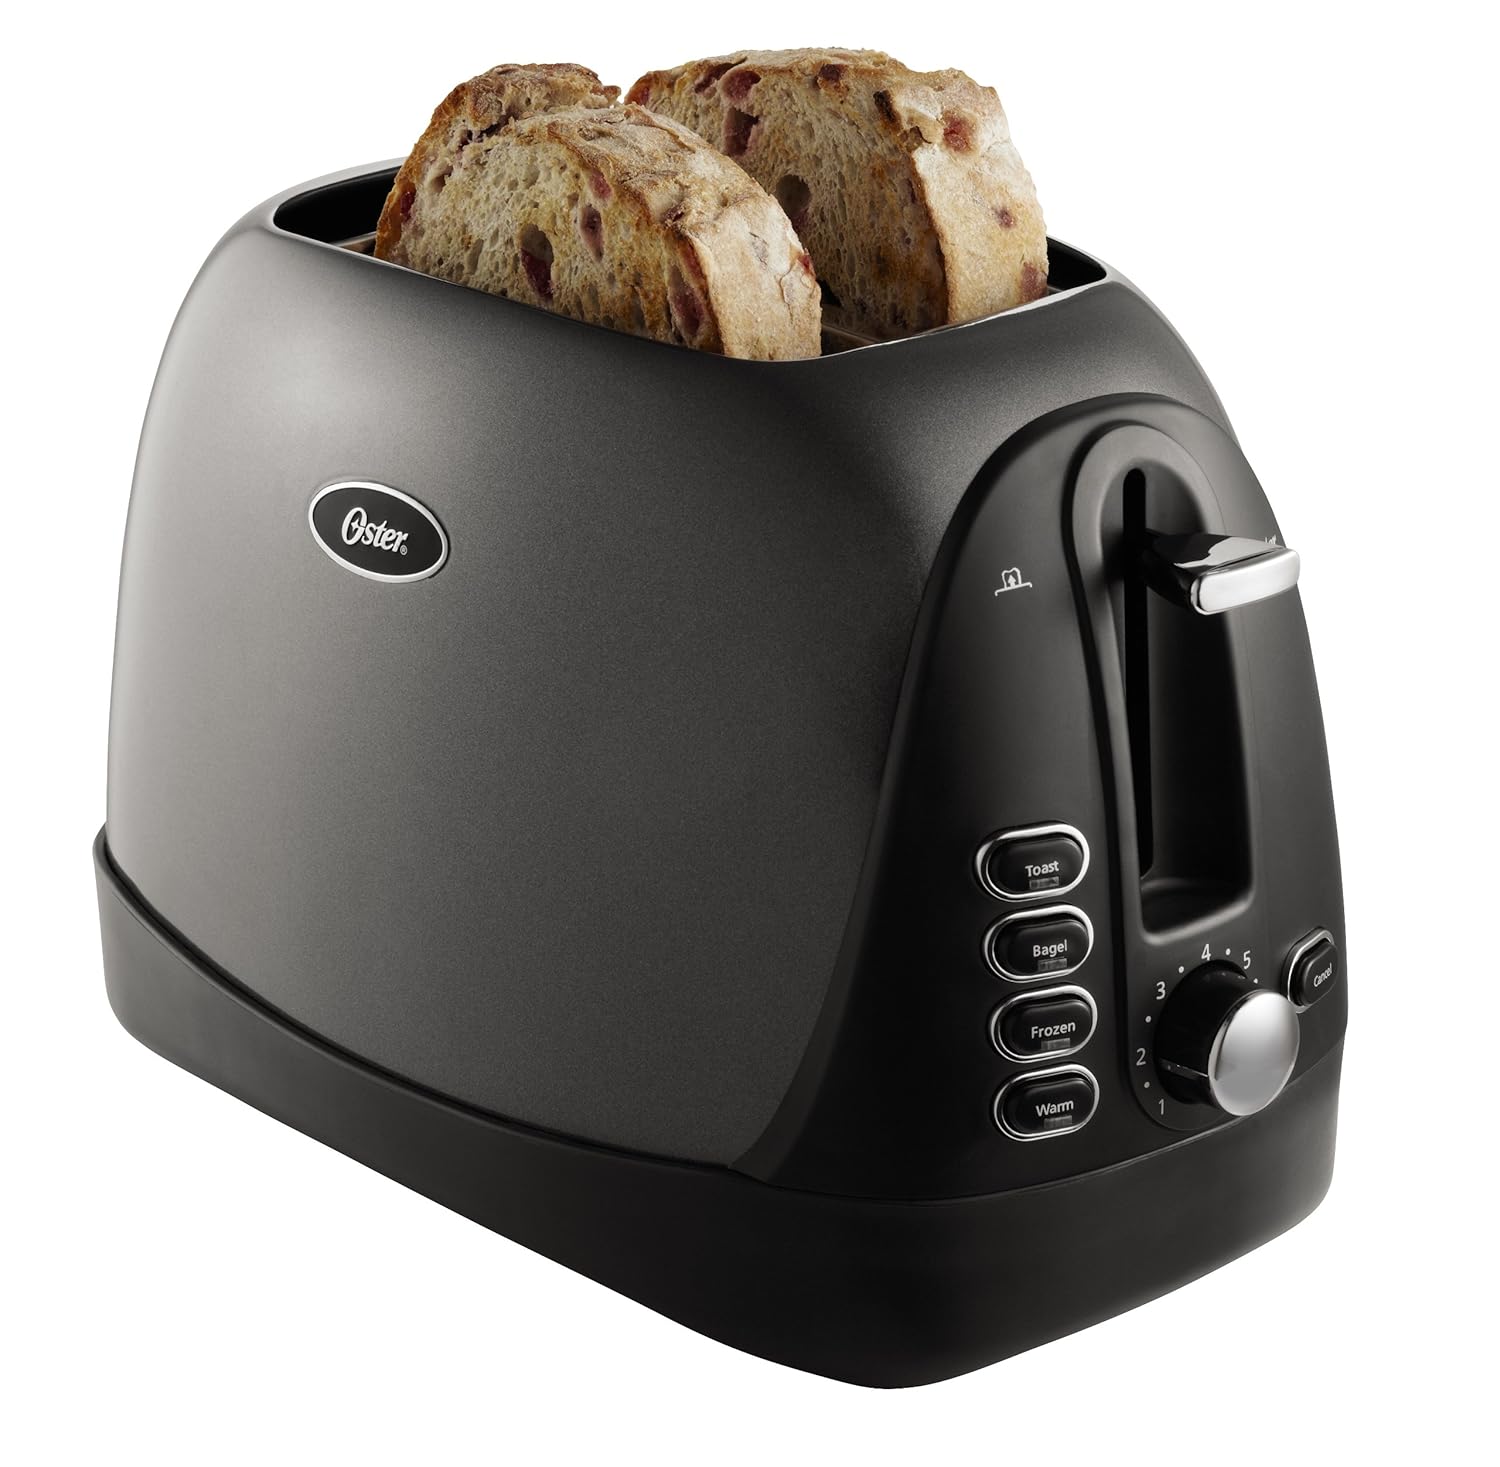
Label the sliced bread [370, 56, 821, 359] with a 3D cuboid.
[{"bbox_3d":[-0.073,-0.228,0.723,0.211,0.105,0.067,29,39,31],"label":"sliced bread"}]

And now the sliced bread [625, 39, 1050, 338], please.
[{"bbox_3d":[0.033,-0.264,0.777,0.071,0.115,0.209,-36,48,-28],"label":"sliced bread"}]

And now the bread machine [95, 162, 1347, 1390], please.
[{"bbox_3d":[-0.029,-0.041,0.887,0.675,0.414,0.376,16,26,38],"label":"bread machine"}]
